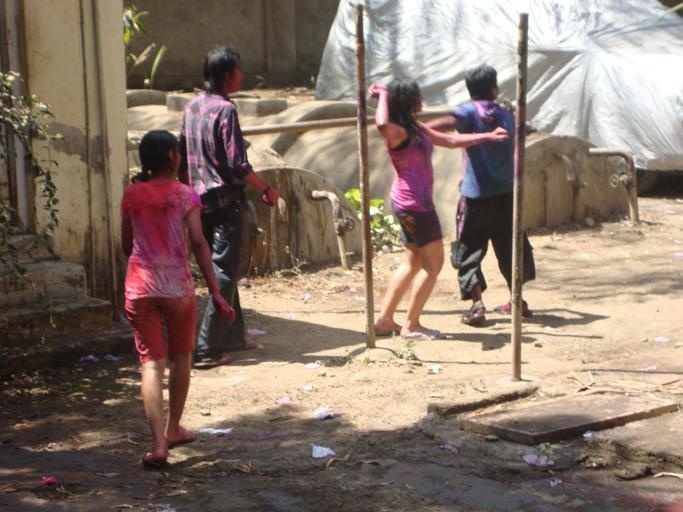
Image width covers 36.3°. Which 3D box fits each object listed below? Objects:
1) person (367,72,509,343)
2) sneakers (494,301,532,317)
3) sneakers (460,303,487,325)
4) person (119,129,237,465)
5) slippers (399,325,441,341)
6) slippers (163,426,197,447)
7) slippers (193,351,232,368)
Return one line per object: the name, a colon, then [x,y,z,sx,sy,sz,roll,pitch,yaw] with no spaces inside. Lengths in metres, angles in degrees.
person: [0.697,-0.369,8.594,0.986,2.158,0.687,-4,4,0]
sneakers: [1.544,0.466,9.457,0.380,0.155,0.137,3,5,21]
sneakers: [1.165,0.518,9.242,0.130,0.119,0.267,-2,5,-5]
person: [-1.103,0.418,6.864,0.621,1.823,0.468,-5,4,-12]
slippers: [0.681,0.655,8.840,0.390,0.140,0.124,-2,2,-2]
slippers: [-1.087,1.202,6.943,0.193,0.081,0.089,-12,16,-40]
slippers: [-1.055,0.829,8.399,0.336,0.127,0.118,-6,9,-29]
